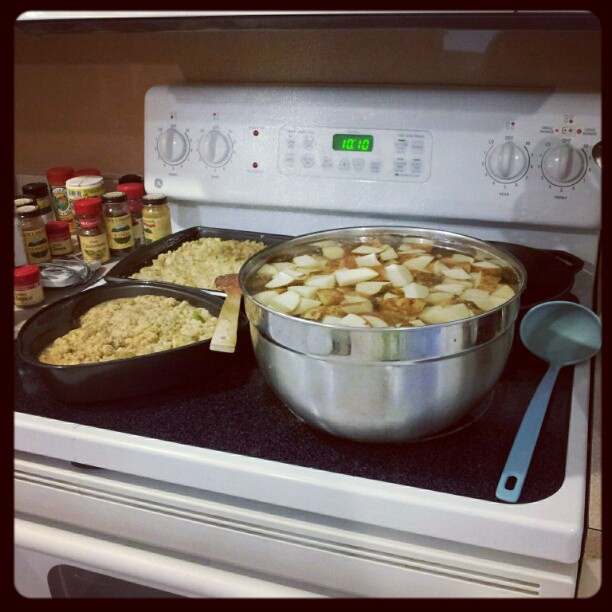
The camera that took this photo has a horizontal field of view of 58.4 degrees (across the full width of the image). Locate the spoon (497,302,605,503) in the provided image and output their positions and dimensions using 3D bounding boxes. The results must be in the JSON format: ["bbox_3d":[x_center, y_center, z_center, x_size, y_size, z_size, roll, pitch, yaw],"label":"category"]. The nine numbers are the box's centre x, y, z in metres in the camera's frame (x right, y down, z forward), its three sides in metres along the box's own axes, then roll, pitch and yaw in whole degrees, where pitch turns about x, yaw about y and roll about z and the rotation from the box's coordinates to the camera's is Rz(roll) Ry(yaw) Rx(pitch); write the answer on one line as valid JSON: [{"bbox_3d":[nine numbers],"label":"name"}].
[{"bbox_3d":[0.292,0.092,0.640,0.101,0.048,0.329,1,27,33],"label":"spoon"}]

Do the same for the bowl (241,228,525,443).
[{"bbox_3d":[0.084,0.031,0.641,0.306,0.206,0.272,-2,16,-6],"label":"bowl"}]

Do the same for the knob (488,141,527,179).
[{"bbox_3d":[0.330,-0.235,0.911,0.023,0.070,0.072,19,37,6],"label":"knob"}]

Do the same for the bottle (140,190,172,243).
[{"bbox_3d":[-0.302,-0.175,1.133,0.060,0.096,0.062,-1,22,0],"label":"bottle"}]

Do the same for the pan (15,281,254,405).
[{"bbox_3d":[-0.213,0.081,0.727,0.253,0.055,0.195,-10,35,-15],"label":"pan"}]

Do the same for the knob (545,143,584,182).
[{"bbox_3d":[0.402,-0.224,0.850,0.055,0.052,0.018,6,18,20],"label":"knob"}]
